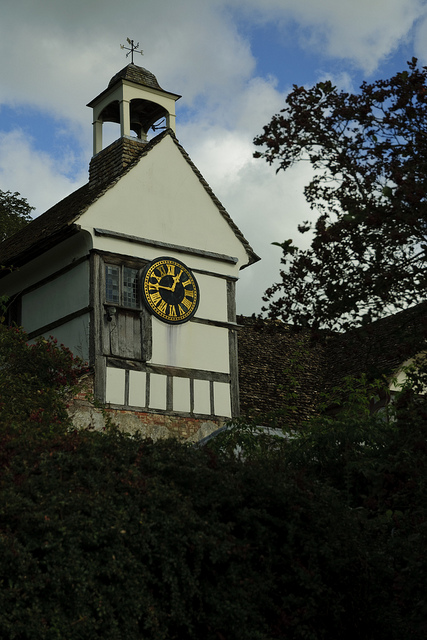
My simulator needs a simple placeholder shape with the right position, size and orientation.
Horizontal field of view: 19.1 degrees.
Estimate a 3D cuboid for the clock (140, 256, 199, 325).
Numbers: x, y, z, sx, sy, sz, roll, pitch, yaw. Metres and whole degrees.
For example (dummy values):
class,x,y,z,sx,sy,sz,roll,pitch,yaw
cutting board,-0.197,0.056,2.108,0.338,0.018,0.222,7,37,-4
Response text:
class,x,y,z,sx,sy,sz,roll,pitch,yaw
clock,-0.680,-0.473,19.998,1.168,1.044,0.103,8,-15,-42
